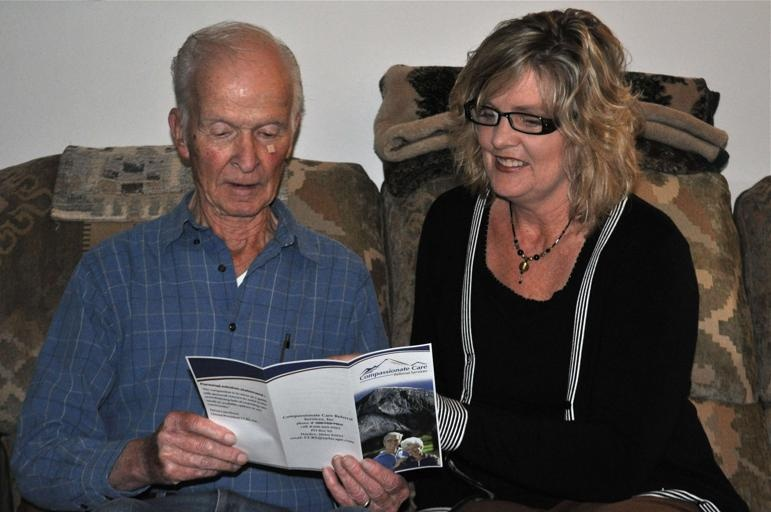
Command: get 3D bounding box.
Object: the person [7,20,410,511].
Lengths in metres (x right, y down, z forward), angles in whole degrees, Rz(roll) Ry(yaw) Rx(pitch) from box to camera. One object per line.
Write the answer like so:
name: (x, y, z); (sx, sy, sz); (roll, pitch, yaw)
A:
person: (-0.591, 0.020, 2.719); (1.168, 1.680, 0.439); (5, -12, -19)

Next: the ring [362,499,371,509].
ring: (-0.060, 0.829, 2.620); (0.011, 0.026, 0.030); (44, 4, 5)

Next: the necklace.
necklace: (0.578, -0.037, 2.992); (0.332, 0.213, 0.092); (22, -11, 29)
